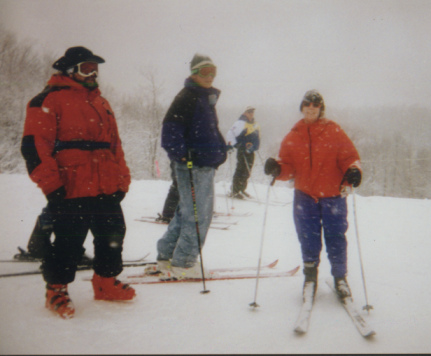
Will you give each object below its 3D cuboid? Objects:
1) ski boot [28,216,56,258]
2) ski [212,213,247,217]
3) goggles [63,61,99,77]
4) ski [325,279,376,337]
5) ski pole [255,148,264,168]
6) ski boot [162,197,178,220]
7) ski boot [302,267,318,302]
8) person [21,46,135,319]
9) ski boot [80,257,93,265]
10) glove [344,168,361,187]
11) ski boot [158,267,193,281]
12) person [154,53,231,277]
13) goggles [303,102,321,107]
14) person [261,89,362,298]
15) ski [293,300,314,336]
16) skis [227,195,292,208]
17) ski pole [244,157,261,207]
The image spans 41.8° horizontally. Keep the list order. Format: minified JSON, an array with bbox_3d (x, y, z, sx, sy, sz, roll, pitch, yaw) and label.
[{"bbox_3d":[-1.805,0.608,5.901,0.161,0.448,0.484,0,2,-33],"label":"ski boot"},{"bbox_3d":[0.263,0.638,9.596,0.676,0.040,0.178,0,2,-20],"label":"ski"},{"bbox_3d":[-1.396,-1.138,5.960,0.247,0.106,0.184,0,14,17],"label":"goggles"},{"bbox_3d":[1.452,1.376,5.960,0.131,0.071,1.222,-1,17,-4],"label":"ski"},{"bbox_3d":[1.051,-0.468,13.201,0.083,0.650,0.069,-39,-55,24],"label":"ski pole"},{"bbox_3d":[-0.668,0.466,8.438,0.151,0.362,0.497,0,1,-15],"label":"ski boot"},{"bbox_3d":[1.033,1.147,6.108,0.150,0.344,0.241,1,1,10],"label":"ski boot"},{"bbox_3d":[-1.423,0.035,5.881,1.115,2.769,0.312,0,1,-21],"label":"person"},{"bbox_3d":[-1.520,0.991,6.688,0.142,0.101,0.081,-1,-1,0],"label":"ski boot"},{"bbox_3d":[1.453,-0.003,5.958,0.168,0.191,0.067,1,1,11],"label":"glove"},{"bbox_3d":[-0.441,1.096,6.513,0.391,0.198,0.139,1,0,-3],"label":"ski boot"},{"bbox_3d":[-0.244,-0.129,6.430,0.796,2.552,0.507,0,1,-6],"label":"person"},{"bbox_3d":[1.071,-0.800,6.238,0.179,0.048,0.054,1,1,9],"label":"goggles"},{"bbox_3d":[1.110,0.156,6.191,0.948,2.213,0.339,1,1,14],"label":"person"},{"bbox_3d":[0.929,1.450,5.849,0.154,0.245,0.425,1,1,16],"label":"ski"},{"bbox_3d":[0.813,0.462,10.705,1.010,0.054,0.153,15,25,28],"label":"skis"},{"bbox_3d":[0.810,0.097,12.155,0.076,1.136,0.081,-14,-14,-24],"label":"ski pole"}]
